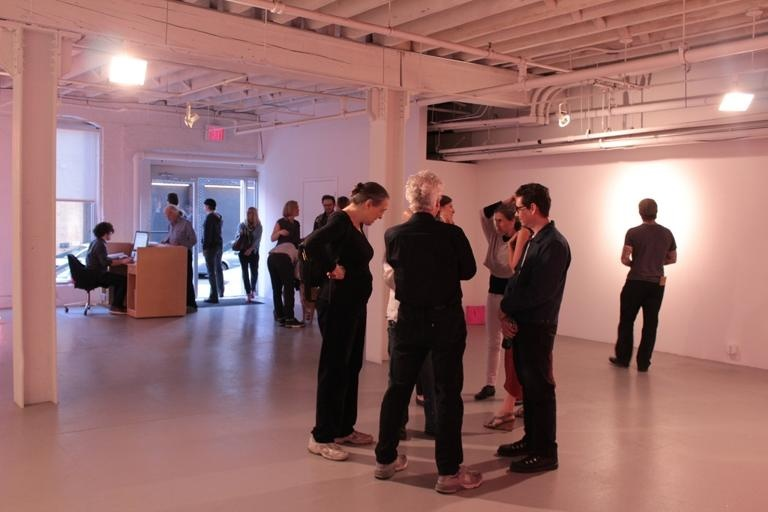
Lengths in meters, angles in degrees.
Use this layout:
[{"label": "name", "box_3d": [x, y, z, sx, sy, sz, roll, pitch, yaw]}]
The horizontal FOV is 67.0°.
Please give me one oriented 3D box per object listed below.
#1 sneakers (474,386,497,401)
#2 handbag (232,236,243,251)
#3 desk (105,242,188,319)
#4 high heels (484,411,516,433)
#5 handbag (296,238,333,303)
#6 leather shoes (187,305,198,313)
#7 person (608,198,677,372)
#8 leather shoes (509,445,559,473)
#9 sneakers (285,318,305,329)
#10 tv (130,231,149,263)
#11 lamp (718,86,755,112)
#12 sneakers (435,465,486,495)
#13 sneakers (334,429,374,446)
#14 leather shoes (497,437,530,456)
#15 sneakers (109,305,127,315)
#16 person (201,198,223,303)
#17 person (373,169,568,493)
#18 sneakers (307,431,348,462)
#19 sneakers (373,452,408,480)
[{"label": "sneakers", "box_3d": [1.160, 1.601, 6.769, 0.310, 0.131, 0.114, -3, -12, -40]}, {"label": "handbag", "box_3d": [-3.205, -0.260, 12.665, 0.223, 0.296, 0.267, 4, -4, -16]}, {"label": "desk", "box_3d": [-4.586, 0.469, 12.110, 1.220, 1.592, 2.682, 5, -4, -26]}, {"label": "high heels", "box_3d": [1.215, 1.721, 6.017, 0.276, 0.123, 0.157, 3, -5, 1]}, {"label": "handbag", "box_3d": [-0.609, 0.186, 5.203, 0.217, 0.410, 0.289, 5, -4, -2]}, {"label": "leather shoes", "box_3d": [-3.806, 1.054, 11.520, 0.184, 0.083, 0.298, -3, 7, -17]}, {"label": "person", "box_3d": [3.539, 0.380, 7.951, 0.762, 2.307, 0.541, 2, 7, 22]}, {"label": "leather shoes", "box_3d": [1.334, 1.845, 5.237, 0.430, 0.179, 0.169, 3, -3, -4]}, {"label": "sneakers", "box_3d": [-1.562, 1.192, 10.181, 0.382, 0.162, 0.138, -1, -2, -7]}, {"label": "tv", "box_3d": [-4.685, -0.159, 11.146, 0.238, 0.625, 0.628, 5, -4, -40]}, {"label": "lamp", "box_3d": [4.264, -1.891, 7.040, 0.320, 0.226, 0.245, 3, 8, 29]}, {"label": "sneakers", "box_3d": [0.635, 1.886, 4.951, 0.429, 0.201, 0.164, -4, 3, -25]}, {"label": "sneakers", "box_3d": [-0.300, 1.761, 5.598, 0.324, 0.144, 0.148, -2, -2, 0]}, {"label": "leather shoes", "box_3d": [1.212, 1.806, 5.484, 0.355, 0.149, 0.124, 2, 0, 6]}, {"label": "sneakers", "box_3d": [-5.157, 1.063, 11.228, 0.348, 0.150, 0.141, 1, -2, -11]}, {"label": "person", "box_3d": [-3.740, -0.104, 12.620, 0.437, 2.239, 0.704, -3, 7, -18]}, {"label": "person", "box_3d": [0.370, 0.645, 4.868, 0.879, 2.649, 0.383, 0, 7, 9]}, {"label": "sneakers", "box_3d": [-0.520, 1.770, 5.378, 0.368, 0.162, 0.165, 1, -1, 32]}, {"label": "sneakers", "box_3d": [0.061, 1.828, 5.114, 0.124, 0.150, 0.352, 3, 8, 26]}]
